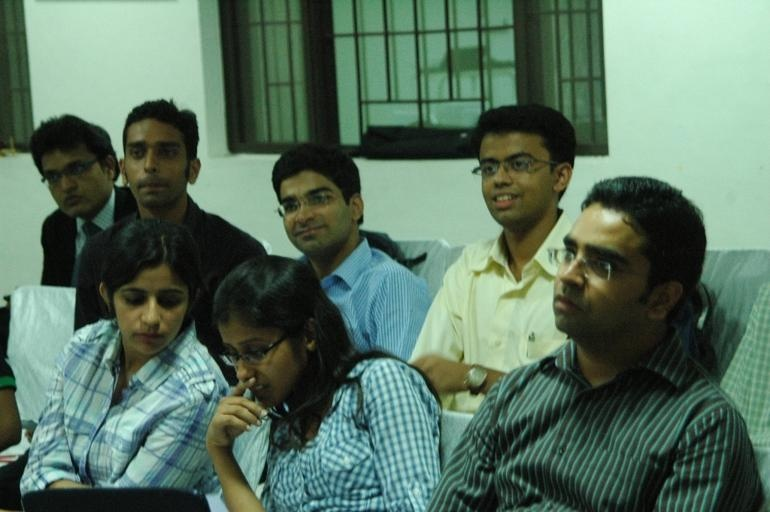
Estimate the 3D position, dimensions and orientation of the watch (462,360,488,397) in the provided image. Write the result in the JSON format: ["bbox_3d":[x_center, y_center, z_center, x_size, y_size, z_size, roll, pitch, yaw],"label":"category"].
[{"bbox_3d":[0.380,0.530,4.020,0.097,0.111,0.105,2,22,-8],"label":"watch"}]

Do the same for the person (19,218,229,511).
[{"bbox_3d":[-1.074,0.417,3.836,0.828,1.099,0.457,-2,8,-14],"label":"person"}]

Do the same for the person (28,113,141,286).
[{"bbox_3d":[-1.721,-0.246,5.457,0.645,1.049,0.667,-6,-11,-6],"label":"person"}]
